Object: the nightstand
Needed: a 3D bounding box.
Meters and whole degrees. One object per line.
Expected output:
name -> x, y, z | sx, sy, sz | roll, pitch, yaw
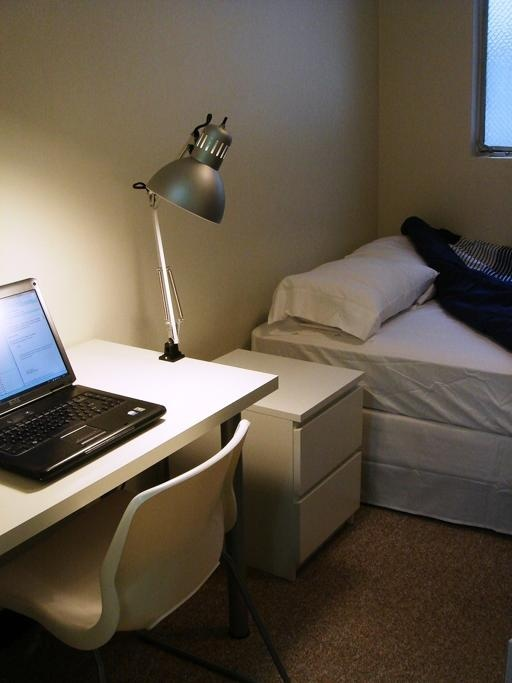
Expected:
nightstand -> 0.135, 0.347, 1.844 | 0.481, 0.616, 0.564 | 6, 16, 30
